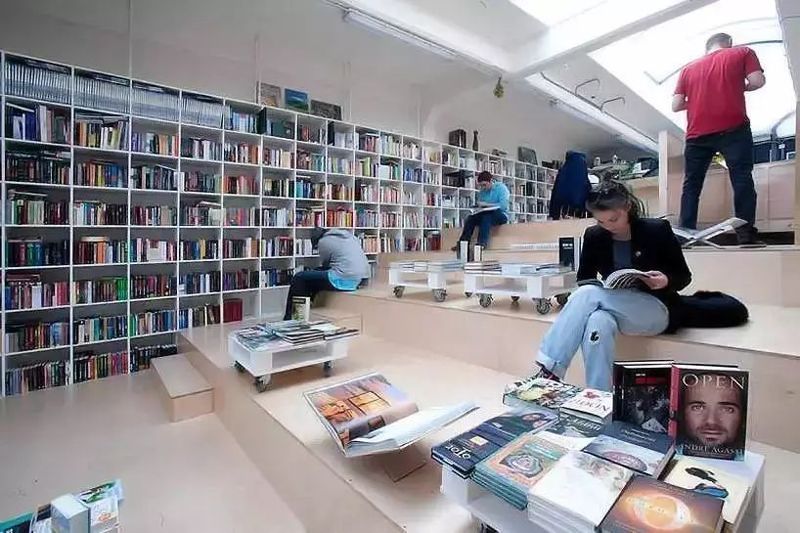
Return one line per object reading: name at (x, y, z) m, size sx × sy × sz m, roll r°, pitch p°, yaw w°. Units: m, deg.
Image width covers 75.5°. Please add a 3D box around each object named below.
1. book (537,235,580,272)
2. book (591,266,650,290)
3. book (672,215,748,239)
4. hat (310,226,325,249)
book at (1.520, -0.127, 4.856) m, size 0.325 × 0.406 × 0.419 m, roll 0°, pitch 2°, yaw -6°
book at (1.635, 0.096, 3.854) m, size 0.391 × 0.155 × 0.216 m, roll -3°, pitch 3°, yaw 16°
book at (3.032, -0.341, 5.028) m, size 0.568 × 0.180 × 0.350 m, roll -10°, pitch -2°, yaw 34°
hat at (-1.038, -0.380, 6.566) m, size 0.210 × 0.230 × 0.262 m, roll -2°, pitch -2°, yaw -9°
